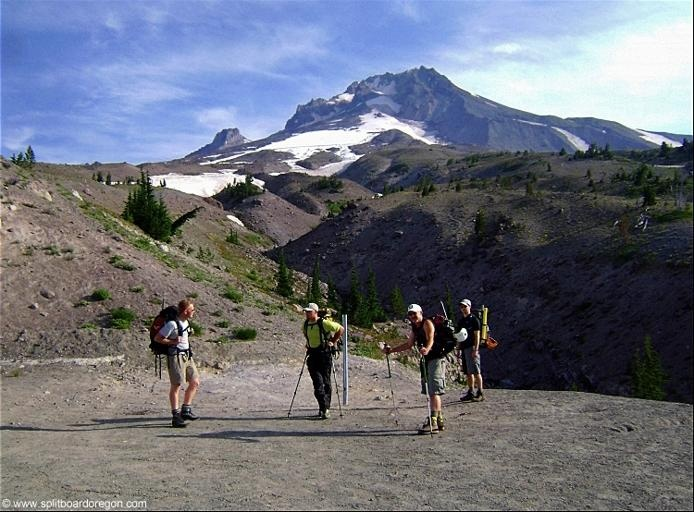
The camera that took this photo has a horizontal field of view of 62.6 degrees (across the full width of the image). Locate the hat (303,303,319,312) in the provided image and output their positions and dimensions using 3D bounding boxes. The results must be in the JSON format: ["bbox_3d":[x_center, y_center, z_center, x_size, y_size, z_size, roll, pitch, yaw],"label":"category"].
[{"bbox_3d":[-1.126,1.669,18.524,0.295,0.183,0.416,-7,-15,38],"label":"hat"}]

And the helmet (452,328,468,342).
[{"bbox_3d":[3.777,2.646,18.934,0.489,0.418,0.602,-2,-28,12],"label":"helmet"}]

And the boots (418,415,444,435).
[{"bbox_3d":[2.715,5.074,17.015,1.108,0.607,0.337,1,-5,1],"label":"boots"}]

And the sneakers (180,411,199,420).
[{"bbox_3d":[-4.853,4.960,17.678,0.599,0.215,0.184,5,3,-9],"label":"sneakers"}]

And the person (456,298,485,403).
[{"bbox_3d":[4.275,3.368,19.801,0.876,3.607,1.252,2,5,20],"label":"person"}]

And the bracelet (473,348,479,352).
[{"bbox_3d":[4.463,3.252,19.659,0.200,0.193,0.127,-14,-17,20],"label":"bracelet"}]
